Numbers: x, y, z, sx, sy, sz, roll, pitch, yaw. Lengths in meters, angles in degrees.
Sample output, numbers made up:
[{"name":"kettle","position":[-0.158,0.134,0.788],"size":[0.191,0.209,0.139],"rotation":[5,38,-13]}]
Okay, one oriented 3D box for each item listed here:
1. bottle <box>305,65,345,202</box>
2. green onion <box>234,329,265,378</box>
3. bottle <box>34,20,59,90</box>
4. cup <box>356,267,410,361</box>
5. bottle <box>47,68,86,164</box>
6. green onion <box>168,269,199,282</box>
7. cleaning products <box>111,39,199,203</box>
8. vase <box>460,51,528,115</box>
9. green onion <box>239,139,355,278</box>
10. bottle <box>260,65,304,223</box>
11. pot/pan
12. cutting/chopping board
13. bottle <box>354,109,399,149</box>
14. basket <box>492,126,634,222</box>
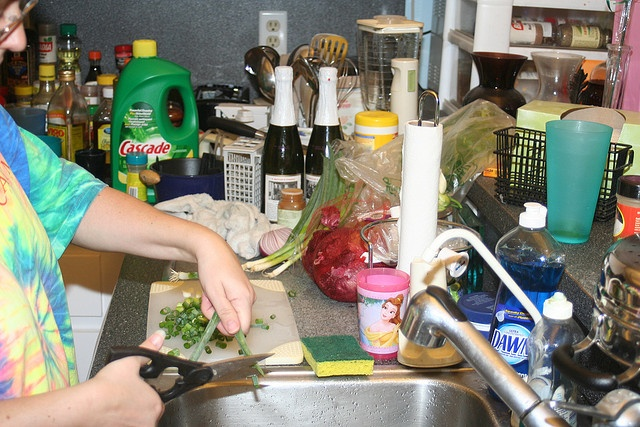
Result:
[{"name":"bottle","position":[0.007,-0.234,1.456],"size":[0.127,0.387,0.112],"rotation":[0,13,-6]},{"name":"green onion","position":[-0.127,0.254,0.878],"size":[0.020,0.117,0.017],"rotation":[-30,-4,32]},{"name":"bottle","position":[-1.339,-0.796,2.435],"size":[0.098,0.276,0.101],"rotation":[4,11,-1]},{"name":"cup","position":[0.119,0.196,0.995],"size":[0.086,0.182,0.095],"rotation":[-9,22,-26]},{"name":"bottle","position":[-1.022,-0.377,1.980],"size":[0.161,0.392,0.158],"rotation":[8,18,-3]},{"name":"green onion","position":[-0.343,0.156,1.231],"size":[0.077,0.028,0.023],"rotation":[3,-27,-20]},{"name":"cleaning products","position":[-0.598,-0.329,1.747],"size":[0.303,0.551,0.134],"rotation":[-5,35,-23]},{"name":"vase","position":[0.526,-0.385,1.461],"size":[0.174,0.181,0.098],"rotation":[4,19,17]},{"name":"green onion","position":[-0.010,0.020,1.362],"size":[0.163,0.466,0.125],"rotation":[27,-12,33]},{"name":"bottle","position":[-0.107,-0.193,1.491],"size":[0.129,0.504,0.130],"rotation":[2,36,-1]},{"name":"pot/pan","position":[-0.421,-0.120,1.528],"size":[0.192,0.127,0.174],"rotation":[-1,14,-6]},{"name":"cutting/chopping board","position":[-0.153,0.207,1.111],"size":[0.359,0.118,0.431],"rotation":[-3,14,-16]},{"name":"bottle","position":[0.167,-0.238,1.467],"size":[0.131,0.130,0.134],"rotation":[-4,26,-9]},{"name":"basket","position":[0.543,-0.114,1.147],"size":[0.154,0.160,0.285],"rotation":[-12,28,-40]}]
